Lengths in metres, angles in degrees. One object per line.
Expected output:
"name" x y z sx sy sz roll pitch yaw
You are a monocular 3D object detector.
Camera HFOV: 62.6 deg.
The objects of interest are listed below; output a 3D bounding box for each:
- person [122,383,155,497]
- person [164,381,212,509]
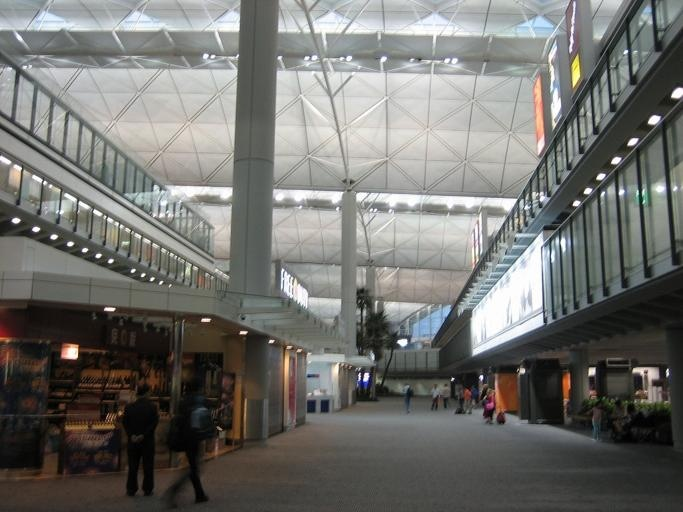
"person" -4.190 3.766 11.637 0.701 2.203 0.501 6 -17 -20
"person" -2.939 3.599 10.959 0.819 2.293 1.281 4 -17 -14
